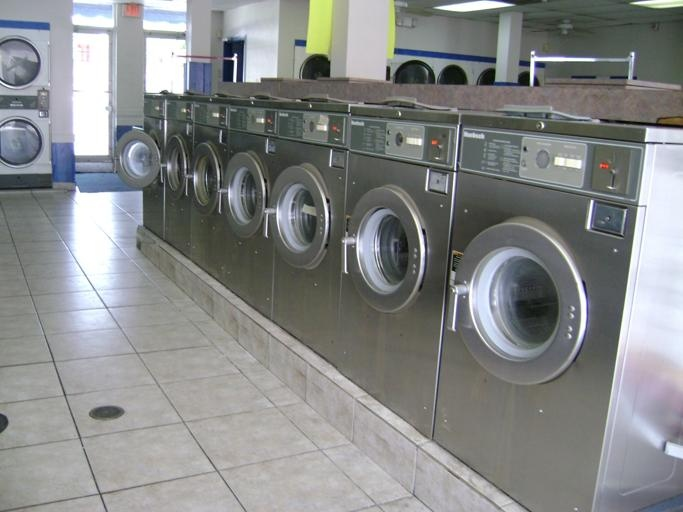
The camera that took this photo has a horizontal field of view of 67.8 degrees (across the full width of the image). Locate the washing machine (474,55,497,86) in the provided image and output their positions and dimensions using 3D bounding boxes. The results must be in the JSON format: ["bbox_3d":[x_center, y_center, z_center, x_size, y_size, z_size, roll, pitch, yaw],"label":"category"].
[{"bbox_3d":[3.242,-4.150,11.308,0.605,0.605,0.271,-9,16,-39],"label":"washing machine"}]

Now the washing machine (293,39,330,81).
[{"bbox_3d":[-0.549,-3.560,9.132,0.615,0.688,0.405,3,12,7],"label":"washing machine"}]

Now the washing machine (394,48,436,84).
[{"bbox_3d":[1.518,-3.896,10.571,1.009,0.557,0.303,-6,14,-30],"label":"washing machine"}]
